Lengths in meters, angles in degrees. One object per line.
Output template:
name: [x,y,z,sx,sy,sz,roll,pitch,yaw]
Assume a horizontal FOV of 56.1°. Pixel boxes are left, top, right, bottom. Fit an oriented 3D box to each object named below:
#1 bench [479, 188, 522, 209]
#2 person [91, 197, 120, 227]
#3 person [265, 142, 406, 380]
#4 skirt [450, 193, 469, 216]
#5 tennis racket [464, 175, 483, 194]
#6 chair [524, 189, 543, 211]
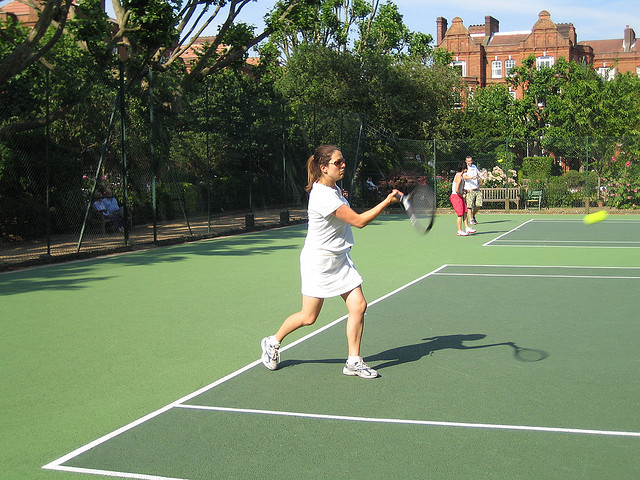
bench: [8.841,-2.035,29.338,1.958,1.033,0.854,0,6,7]
person: [-6.902,-0.880,19.048,0.731,1.025,0.755,-1,7,6]
person: [0.117,0.211,5.889,1.240,2.252,0.378,2,6,18]
skirt: [4.240,-1.072,18.361,0.432,0.672,0.300,-6,8,-41]
tennis racket: [5.103,-1.834,19.927,0.523,0.584,0.510,-1,6,-8]
chair: [10.683,-1.959,29.710,0.824,1.247,0.883,0,0,32]
